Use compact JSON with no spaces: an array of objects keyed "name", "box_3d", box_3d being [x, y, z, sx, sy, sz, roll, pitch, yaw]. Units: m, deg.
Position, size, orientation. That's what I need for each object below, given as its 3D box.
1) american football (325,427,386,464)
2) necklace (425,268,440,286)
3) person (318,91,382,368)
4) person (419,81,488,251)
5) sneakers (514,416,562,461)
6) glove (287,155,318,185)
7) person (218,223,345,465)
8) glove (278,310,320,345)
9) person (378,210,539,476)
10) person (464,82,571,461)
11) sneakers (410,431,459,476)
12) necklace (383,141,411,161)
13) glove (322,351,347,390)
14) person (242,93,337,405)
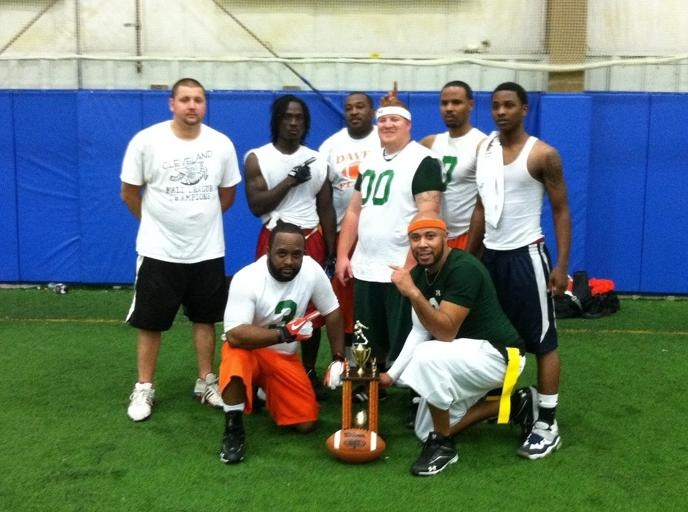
[{"name":"american football","box_3d":[0.089,1.320,4.999,0.386,0.214,0.215,2,10,11]},{"name":"necklace","box_3d":[0.624,0.143,5.107,0.090,0.050,0.118,7,46,19]},{"name":"person","box_3d":[0.055,-0.313,6.290,0.804,2.101,0.628,7,9,32]},{"name":"person","box_3d":[0.898,-0.727,5.793,0.463,1.309,0.366,0,14,0]},{"name":"sneakers","box_3d":[1.427,1.308,5.158,0.176,0.232,0.499,1,7,41]},{"name":"glove","box_3d":[-0.326,-0.716,5.990,0.152,0.219,0.284,4,8,27]},{"name":"person","box_3d":[-0.549,0.596,5.338,0.986,1.554,1.301,2,2,30]},{"name":"glove","box_3d":[-0.323,0.504,5.171,0.271,0.226,0.283,0,7,-2]},{"name":"person","box_3d":[0.779,0.574,5.288,0.854,1.780,1.003,0,2,-13]},{"name":"person","box_3d":[1.273,0.093,5.261,0.730,2.615,0.719,5,14,10]},{"name":"sneakers","box_3d":[0.619,1.356,4.947,0.184,0.235,0.537,5,6,32]},{"name":"necklace","box_3d":[0.409,-0.790,5.604,0.150,0.059,0.147,-33,26,-1]},{"name":"glove","box_3d":[-0.076,0.819,5.167,0.185,0.115,0.298,33,35,-22]},{"name":"person","box_3d":[-0.533,-0.074,6.431,0.776,2.601,0.695,-2,16,-16]}]
